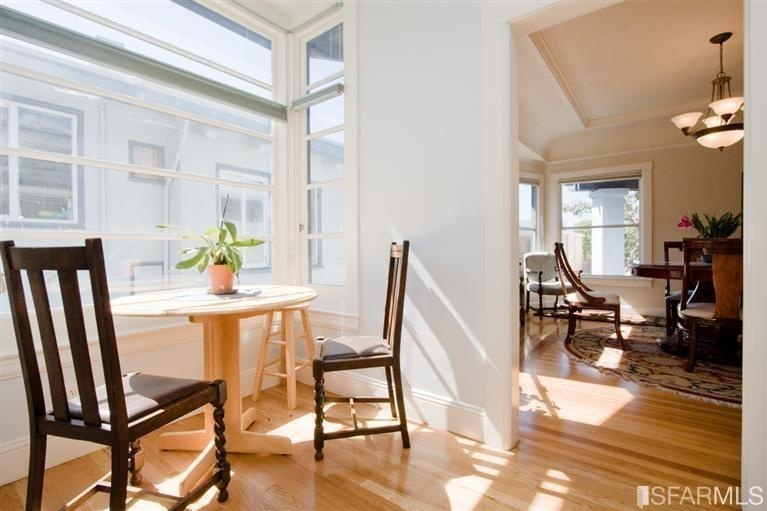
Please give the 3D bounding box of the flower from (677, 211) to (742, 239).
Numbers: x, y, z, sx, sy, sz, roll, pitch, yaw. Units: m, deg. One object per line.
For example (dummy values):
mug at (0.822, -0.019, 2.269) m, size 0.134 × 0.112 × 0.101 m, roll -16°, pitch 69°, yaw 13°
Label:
flower at (3.659, -0.342, 5.426) m, size 0.493 × 0.203 × 0.481 m, roll 4°, pitch -9°, yaw -13°

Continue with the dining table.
dining table at (3.132, 0.553, 5.103) m, size 0.945 × 0.763 × 0.989 m, roll -1°, pitch -6°, yaw 8°

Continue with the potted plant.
potted plant at (-1.216, -0.023, 3.666) m, size 0.831 × 0.649 × 0.788 m, roll 0°, pitch -3°, yaw -10°

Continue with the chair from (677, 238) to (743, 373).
chair at (2.952, 0.446, 4.349) m, size 0.371 × 1.204 × 0.632 m, roll -4°, pitch 2°, yaw -19°
